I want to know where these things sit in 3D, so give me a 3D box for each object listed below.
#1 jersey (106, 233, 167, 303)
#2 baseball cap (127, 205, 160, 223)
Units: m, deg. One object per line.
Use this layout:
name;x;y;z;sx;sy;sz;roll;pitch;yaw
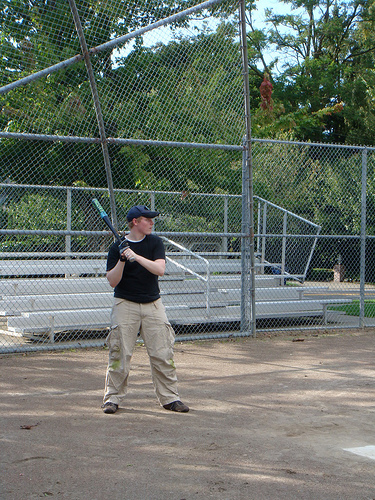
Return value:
jersey;-0.400;0.145;5.217;0.464;0.519;0.281;1;2;-22
baseball cap;-0.350;-0.281;5.239;0.218;0.085;0.120;-5;4;9
